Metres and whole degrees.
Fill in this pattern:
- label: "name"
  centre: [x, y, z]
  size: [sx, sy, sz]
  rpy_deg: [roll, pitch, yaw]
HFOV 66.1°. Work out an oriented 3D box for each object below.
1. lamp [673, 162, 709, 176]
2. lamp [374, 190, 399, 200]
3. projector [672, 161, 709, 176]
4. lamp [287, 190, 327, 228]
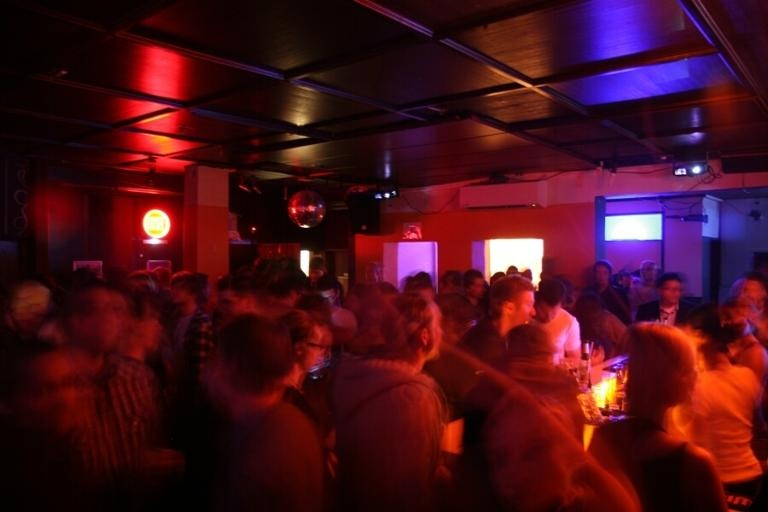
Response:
- label: "lamp"
  centre: [3.877, -1.112, 7.481]
  size: [0.230, 0.119, 0.311]
  rpy_deg: [1, 1, 26]
- label: "lamp"
  centre: [0.042, -1.112, 10.587]
  size: [0.449, 0.138, 0.308]
  rpy_deg: [4, 1, 10]
- label: "projector"
  centre: [3.886, -1.117, 7.497]
  size: [0.245, 0.125, 0.330]
  rpy_deg: [2, 1, 25]
- label: "lamp"
  centre: [-1.033, -0.631, 7.927]
  size: [0.503, 0.556, 0.472]
  rpy_deg: [1, 3, -29]
